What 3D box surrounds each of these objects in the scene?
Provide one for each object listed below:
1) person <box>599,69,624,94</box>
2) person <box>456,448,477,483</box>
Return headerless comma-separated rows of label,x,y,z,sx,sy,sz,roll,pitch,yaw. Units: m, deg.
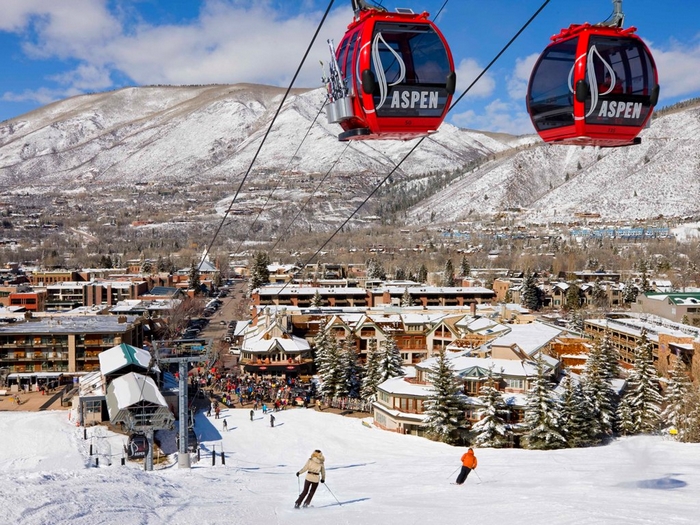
person,9.809,-6.637,31.481,0.991,0.800,0.294,1,-6,-16
person,4.928,8.441,35.413,0.645,1.691,0.533,17,17,2
